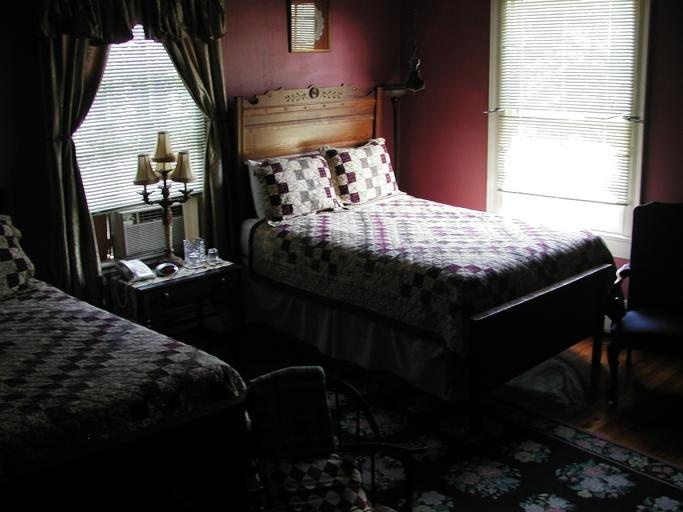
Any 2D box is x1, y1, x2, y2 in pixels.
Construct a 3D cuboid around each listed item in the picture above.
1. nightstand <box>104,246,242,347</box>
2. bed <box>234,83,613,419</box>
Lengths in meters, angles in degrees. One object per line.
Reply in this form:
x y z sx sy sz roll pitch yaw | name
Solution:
-1.232 0.430 4.305 0.590 0.693 0.781 10 21 41 | nightstand
0.597 -0.239 4.474 1.950 2.106 2.614 -14 21 -37 | bed
